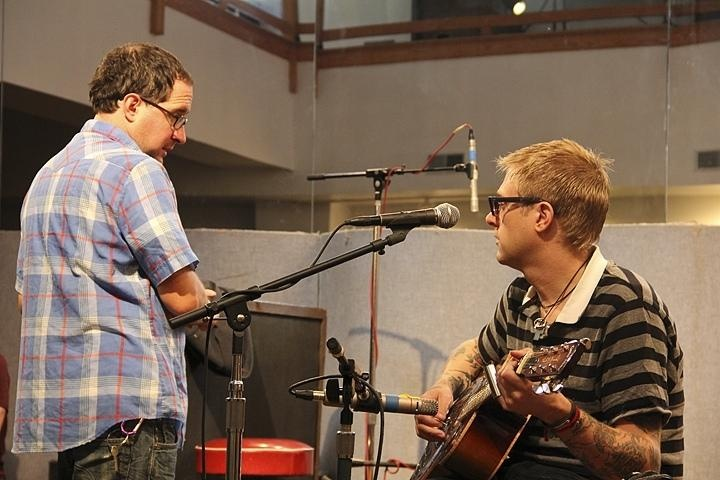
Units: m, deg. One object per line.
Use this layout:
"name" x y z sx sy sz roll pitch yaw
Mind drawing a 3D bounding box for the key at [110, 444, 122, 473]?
"key" -1.136 1.024 5.164 0.036 0.125 0.019 2 -5 -16

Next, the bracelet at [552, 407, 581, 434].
"bracelet" 0.963 0.852 5.195 0.116 0.044 0.105 -33 3 16

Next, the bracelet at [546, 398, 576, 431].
"bracelet" 0.947 0.823 5.175 0.044 0.125 0.112 9 -26 44

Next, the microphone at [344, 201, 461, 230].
"microphone" 0.261 -0.129 6.040 0.768 0.194 0.190 -2 8 -10

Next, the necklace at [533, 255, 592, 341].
"necklace" 0.969 0.343 5.513 0.060 0.562 0.156 25 14 -39
